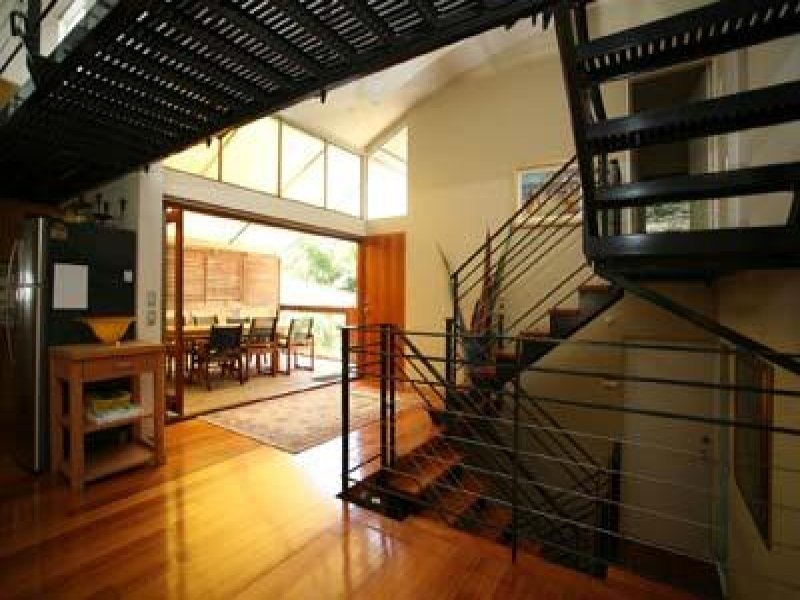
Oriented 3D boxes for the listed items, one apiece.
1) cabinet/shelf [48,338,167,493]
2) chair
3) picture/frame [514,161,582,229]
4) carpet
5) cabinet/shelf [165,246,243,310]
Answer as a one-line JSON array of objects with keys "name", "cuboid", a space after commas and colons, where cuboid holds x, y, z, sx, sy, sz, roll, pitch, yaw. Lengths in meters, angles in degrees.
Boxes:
[{"name": "cabinet/shelf", "cuboid": [-2.331, 0.851, 4.850, 0.559, 1.011, 0.757, 6, 8, 36]}, {"name": "chair", "cuboid": [-2.167, 0.658, 7.747, 1.103, 0.515, 1.101, -2, 2, -42]}, {"name": "picture/frame", "cuboid": [1.581, -1.090, 6.344, 0.824, 0.733, 0.294, 2, 6, 32]}, {"name": "carpet", "cuboid": [-0.898, 1.192, 6.313, 1.456, 0.177, 2.012, -1, 2, 32]}, {"name": "cabinet/shelf", "cuboid": [-3.322, -0.363, 10.499, 0.702, 1.234, 1.318, 9, 7, 41]}]
